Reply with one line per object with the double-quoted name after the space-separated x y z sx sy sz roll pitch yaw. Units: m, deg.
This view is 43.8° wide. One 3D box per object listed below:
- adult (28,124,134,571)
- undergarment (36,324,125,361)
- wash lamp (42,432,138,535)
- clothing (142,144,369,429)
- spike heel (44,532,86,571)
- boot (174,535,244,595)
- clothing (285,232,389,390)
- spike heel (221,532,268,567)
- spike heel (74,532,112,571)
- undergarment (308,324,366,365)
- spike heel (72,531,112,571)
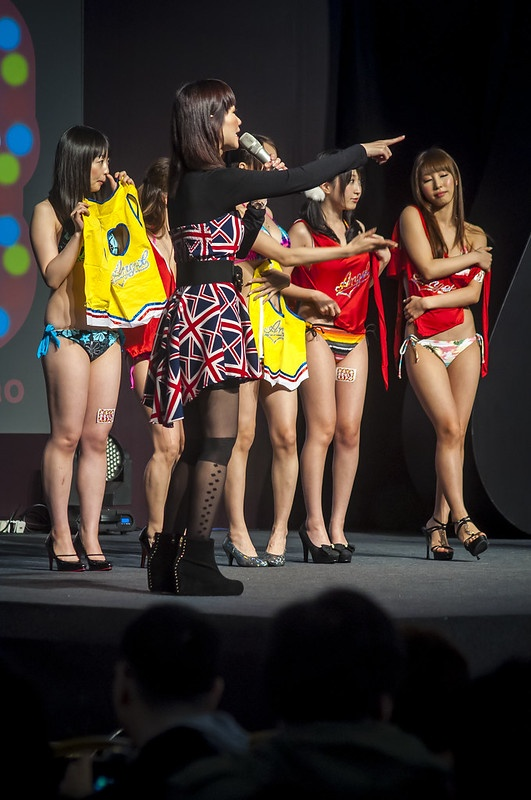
-0.710 -0.205 2.509 0.340 1.681 0.430 1 -9 -2 "adult"
-0.697 -0.207 2.492 0.296 0.129 0.163 2 -8 -17 "undergarment"
-1.112 0.583 4.492 0.424 0.606 0.391 4 -5 -24 "wash lamp"
0.053 -0.321 1.940 0.806 0.925 0.505 -3 3 -16 "clothing"
-0.735 0.585 2.506 0.250 0.164 0.085 -6 -10 30 "spike heel"
-0.156 0.446 1.770 0.209 0.150 0.074 12 -13 -25 "boot"
0.347 -0.377 2.950 0.388 0.767 0.106 4 -18 -1 "clothing"
-0.091 0.614 2.646 0.237 0.141 0.081 -3 -8 26 "spike heel"
-0.638 0.589 2.562 0.092 0.118 0.265 2 4 -43 "spike heel"
0.340 -0.240 2.900 0.190 0.082 0.170 4 -9 -36 "undergarment"
-0.650 0.586 2.565 0.092 0.120 0.265 1 4 -44 "spike heel"
